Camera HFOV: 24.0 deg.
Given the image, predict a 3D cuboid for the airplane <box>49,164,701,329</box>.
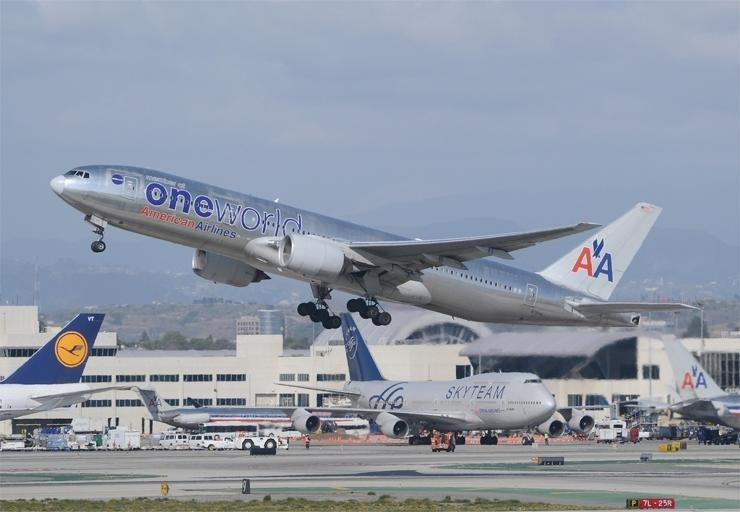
[{"bbox_3d":[0.549,-0.573,121.820,40.013,8.942,5.432,4,-13,-14],"label":"airplane"}]
